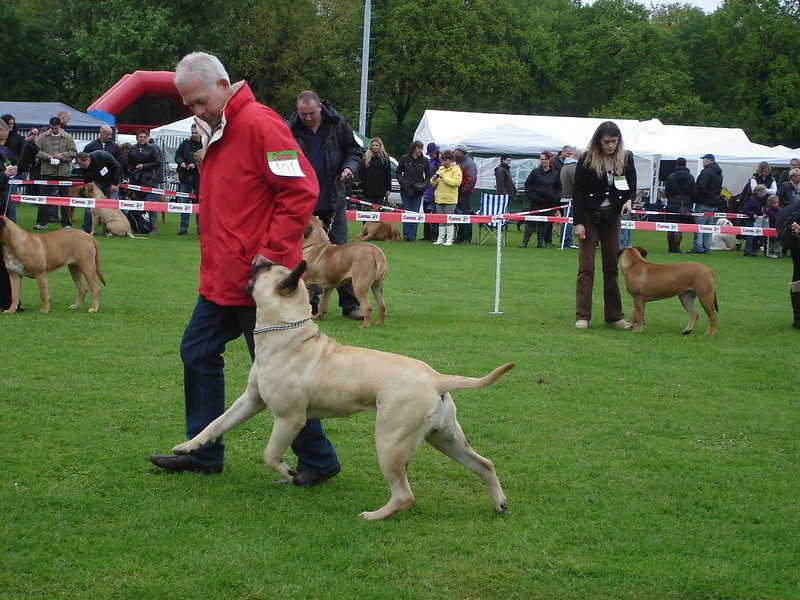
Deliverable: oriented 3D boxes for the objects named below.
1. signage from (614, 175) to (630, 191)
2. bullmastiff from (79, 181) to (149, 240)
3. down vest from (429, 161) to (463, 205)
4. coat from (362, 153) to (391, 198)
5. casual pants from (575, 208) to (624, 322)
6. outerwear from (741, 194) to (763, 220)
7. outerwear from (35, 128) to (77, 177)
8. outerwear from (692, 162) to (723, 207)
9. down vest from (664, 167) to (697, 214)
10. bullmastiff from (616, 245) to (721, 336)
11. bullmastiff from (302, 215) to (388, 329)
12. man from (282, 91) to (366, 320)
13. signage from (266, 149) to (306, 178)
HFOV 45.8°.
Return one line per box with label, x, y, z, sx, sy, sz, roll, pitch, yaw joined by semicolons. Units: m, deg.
signage;2.616;-1.370;11.176;0.214;0.164;0.074;-4;11;-29
bullmastiff;-5.739;-1.753;18.900;1.470;1.070;0.439;16;22;16
down vest;0.940;-2.415;19.409;0.645;0.861;0.534;10;10;42
coat;-0.532;-2.553;19.983;0.682;0.982;0.422;0;10;-10
casual pants;2.444;-0.384;11.484;0.542;1.599;0.364;3;-30;10
outerwear;7.544;-1.963;20.289;0.543;0.498;0.289;-14;12;-41
outerwear;-6.919;-2.950;19.100;0.725;0.926;0.669;-2;10;-22
outerwear;6.515;-2.409;20.007;0.609;0.966;0.434;-1;10;-18
down vest;5.952;-2.331;20.078;0.570;0.980;0.469;5;10;17
bullmastiff;3.164;-0.102;11.491;1.327;1.081;0.476;4;6;24
bullmastiff;-0.787;-0.349;11.437;1.348;1.342;0.483;7;10;28
man;-0.972;-1.093;11.369;1.046;2.666;1.054;-6;19;-8
signage;-0.877;-1.033;7.178;0.194;0.195;0.021;-6;-2;-5
